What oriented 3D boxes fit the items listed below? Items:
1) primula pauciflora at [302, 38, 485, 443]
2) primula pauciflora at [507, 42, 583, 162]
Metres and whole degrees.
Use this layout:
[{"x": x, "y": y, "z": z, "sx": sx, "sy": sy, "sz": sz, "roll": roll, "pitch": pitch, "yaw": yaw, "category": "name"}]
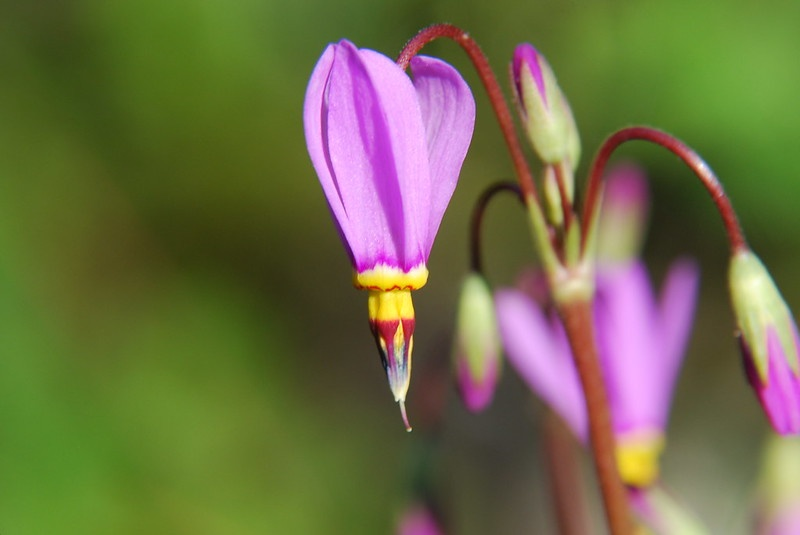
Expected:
[{"x": -0.014, "y": -0.067, "z": 1.137, "sx": 0.177, "sy": 0.461, "sz": 0.177, "roll": 14, "pitch": 24, "yaw": 36, "category": "primula pauciflora"}, {"x": 0.188, "y": -0.210, "z": 1.152, "sx": 0.061, "sy": 0.203, "sz": 0.058, "roll": -23, "pitch": -2, "yaw": 41, "category": "primula pauciflora"}]
